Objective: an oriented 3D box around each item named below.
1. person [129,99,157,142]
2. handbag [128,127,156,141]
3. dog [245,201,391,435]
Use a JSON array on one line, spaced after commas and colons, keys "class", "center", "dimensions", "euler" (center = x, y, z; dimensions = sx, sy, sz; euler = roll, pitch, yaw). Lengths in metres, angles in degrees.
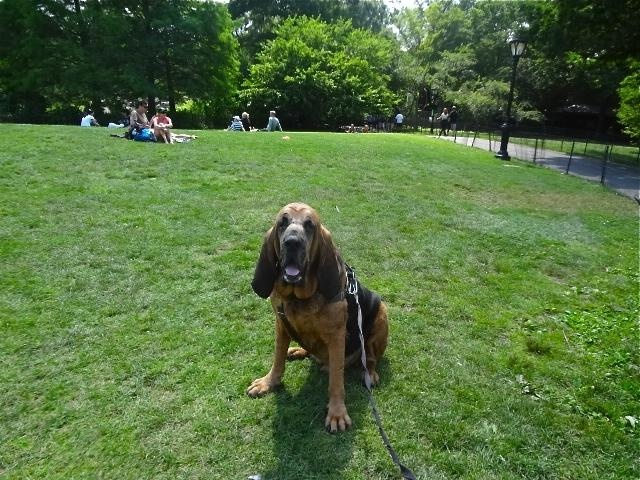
[{"class": "person", "center": [-5.993, -4.103, 15.924], "dimensions": [1.026, 1.335, 0.980], "euler": [19, 17, 12]}, {"class": "handbag", "center": [-5.931, -3.564, 15.546], "dimensions": [0.857, 0.400, 0.498], "euler": [8, 18, 17]}, {"class": "dog", "center": [-0.014, 0.761, 5.054], "dimensions": [1.540, 2.328, 0.883], "euler": [-1, 16, -11]}]
